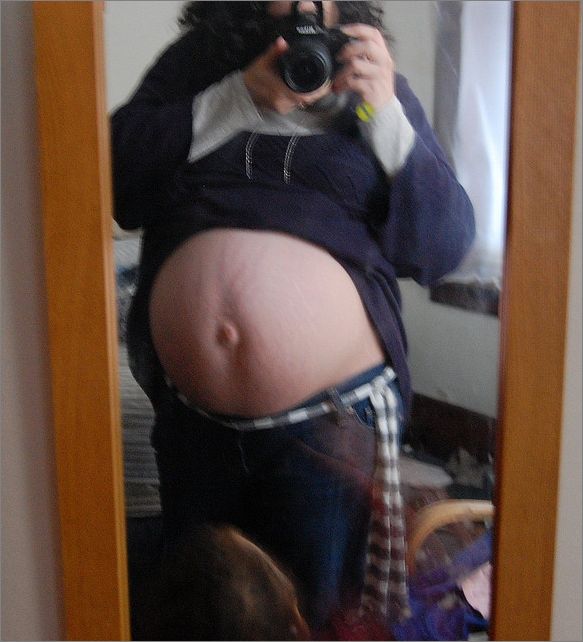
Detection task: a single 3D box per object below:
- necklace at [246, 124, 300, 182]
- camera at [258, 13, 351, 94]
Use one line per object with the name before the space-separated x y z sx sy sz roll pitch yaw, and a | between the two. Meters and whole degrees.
necklace | -0.031 -0.227 0.929 0.057 0.074 0.016 5 3 2
camera | 0.020 -0.369 0.946 0.106 0.129 0.090 1 18 13
